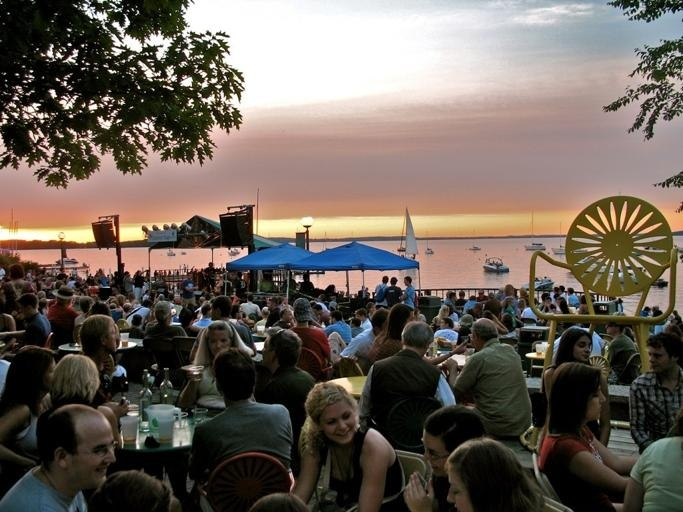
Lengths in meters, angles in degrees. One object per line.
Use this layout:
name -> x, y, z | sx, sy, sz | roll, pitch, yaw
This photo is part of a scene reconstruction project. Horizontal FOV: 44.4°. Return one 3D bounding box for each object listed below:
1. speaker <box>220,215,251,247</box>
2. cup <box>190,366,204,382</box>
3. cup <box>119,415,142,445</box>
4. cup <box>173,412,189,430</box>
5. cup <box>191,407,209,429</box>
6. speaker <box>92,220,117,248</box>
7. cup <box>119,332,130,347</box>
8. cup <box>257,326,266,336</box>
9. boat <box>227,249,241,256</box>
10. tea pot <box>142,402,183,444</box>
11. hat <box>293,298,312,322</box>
speaker -> -2.937, -0.718, 22.366 | 0.841, 0.846, 0.451 | -3, 3, -8
cup -> -1.494, 1.220, 8.642 | 0.130, 0.105, 0.139 | 0, -6, 0
cup -> -1.957, 1.639, 7.919 | 0.220, 0.254, 0.229 | 1, 0, 0
cup -> -1.561, 1.620, 8.201 | 0.131, 0.103, 0.131 | 2, -3, 0
cup -> -1.372, 1.589, 8.222 | 0.150, 0.156, 0.191 | -4, -9, 39
speaker -> -8.196, -0.802, 29.059 | 0.760, 1.030, 2.008 | 2, -1, -15
cup -> -3.360, 1.306, 13.023 | 0.193, 0.257, 0.206 | 2, -2, 0
cup -> -1.374, 1.298, 14.468 | 0.130, 0.138, 0.140 | 0, 2, 0
boat -> -5.786, -0.190, 45.366 | 0.749, 0.357, 1.038 | 0, 0, -3
tea pot -> -1.692, 1.607, 7.987 | 0.274, 0.275, 0.340 | -7, -14, 42
hat -> -0.492, 0.709, 10.908 | 0.212, 0.295, 0.287 | 1, 0, 2
